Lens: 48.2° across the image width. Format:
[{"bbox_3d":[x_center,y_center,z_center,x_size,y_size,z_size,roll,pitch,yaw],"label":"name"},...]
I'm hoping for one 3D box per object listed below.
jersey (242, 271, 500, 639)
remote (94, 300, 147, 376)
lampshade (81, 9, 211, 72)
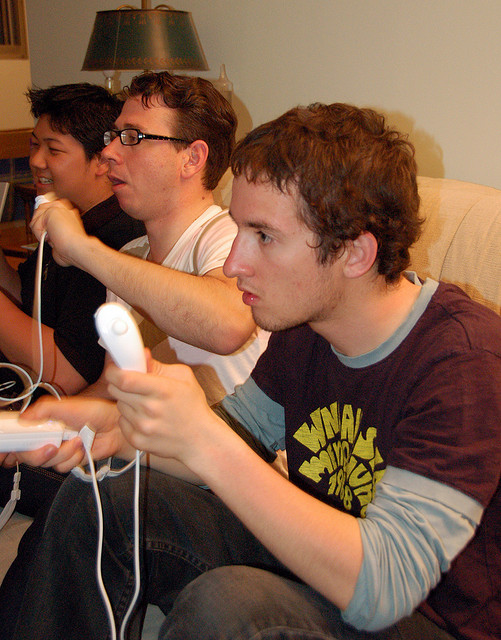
[{"bbox_3d":[0.163,0.177,0.738,0.239,0.326,0.416,-29,28,0],"label":"jersey"},{"bbox_3d":[-0.144,0.027,0.672,0.049,0.101,0.033,-28,16,-29],"label":"remote"},{"bbox_3d":[-0.416,-1.073,2.279,0.354,0.264,0.328,-8,13,-41],"label":"lampshade"}]
